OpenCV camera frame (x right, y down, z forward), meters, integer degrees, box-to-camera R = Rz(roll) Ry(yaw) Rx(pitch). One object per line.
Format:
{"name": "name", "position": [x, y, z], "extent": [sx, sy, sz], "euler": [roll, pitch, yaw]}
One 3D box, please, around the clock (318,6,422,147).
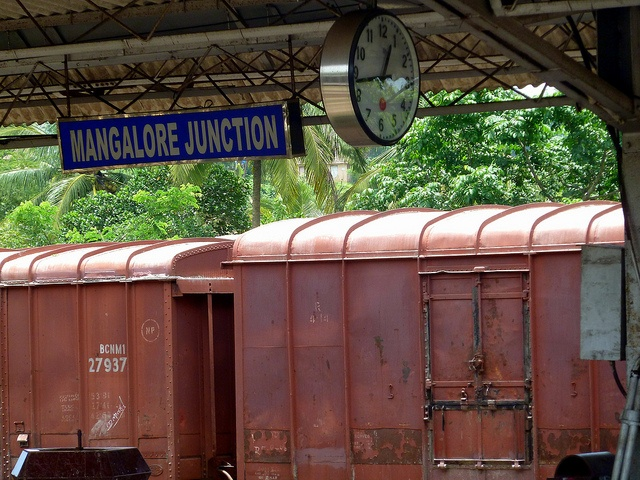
{"name": "clock", "position": [0.570, -1.896, 13.102], "extent": [1.169, 1.565, 0.361], "euler": [-2, -2, -32]}
